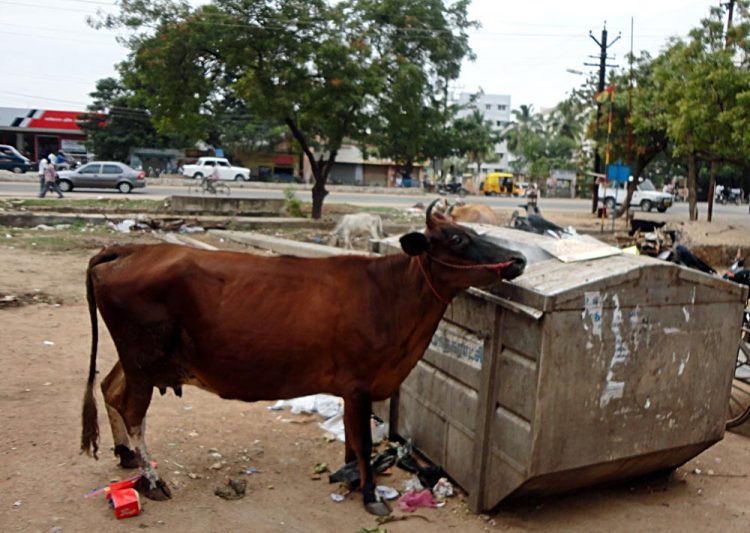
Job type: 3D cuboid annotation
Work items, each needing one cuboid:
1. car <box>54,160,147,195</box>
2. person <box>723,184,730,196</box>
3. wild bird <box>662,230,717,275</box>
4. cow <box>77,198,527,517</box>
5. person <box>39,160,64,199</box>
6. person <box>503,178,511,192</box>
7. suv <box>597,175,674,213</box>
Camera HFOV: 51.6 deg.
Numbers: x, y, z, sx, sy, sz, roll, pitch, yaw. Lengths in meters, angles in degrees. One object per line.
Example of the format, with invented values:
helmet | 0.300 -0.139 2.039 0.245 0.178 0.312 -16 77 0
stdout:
car | -10.921 -3.541 30.880 0.943 1.242 3.423 8 9 44
person | 20.579 -4.436 45.479 0.278 0.952 0.489 -1 9 9
wild bird | 4.052 -0.162 10.081 0.243 0.223 0.658 -36 15 -15
cow | -0.739 1.018 7.749 3.532 2.599 1.106 2 -5 -4
person | -10.984 -2.924 26.167 0.753 1.360 0.527 -3 -4 -12
person | 8.653 -5.247 50.602 0.622 1.004 0.480 0 7 -14
suv | 11.195 -3.068 33.466 2.948 1.413 6.182 4 7 17
